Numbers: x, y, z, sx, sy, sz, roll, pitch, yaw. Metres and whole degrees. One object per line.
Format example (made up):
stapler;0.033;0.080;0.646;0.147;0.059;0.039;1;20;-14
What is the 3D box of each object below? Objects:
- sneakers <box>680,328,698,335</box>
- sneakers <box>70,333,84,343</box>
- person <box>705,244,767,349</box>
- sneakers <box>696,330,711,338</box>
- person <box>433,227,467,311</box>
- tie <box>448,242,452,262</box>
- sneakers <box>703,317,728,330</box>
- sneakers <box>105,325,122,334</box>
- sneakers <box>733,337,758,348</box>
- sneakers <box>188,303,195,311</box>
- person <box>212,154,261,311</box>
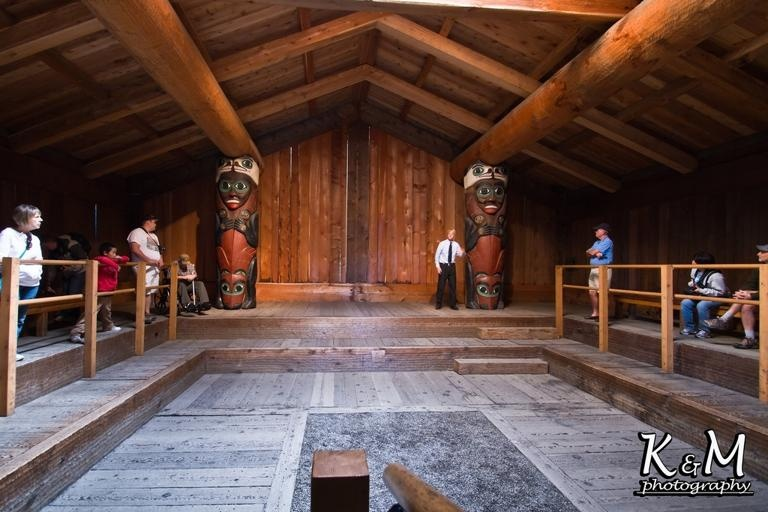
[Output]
sneakers;4.240;1.051;6.368;0.255;0.095;0.085;0;-2;17
sneakers;-3.737;1.006;5.576;0.139;0.061;0.162;-2;0;-4
person;4.612;0.472;5.938;0.663;1.318;1.647;-2;-4;34
sneakers;4.284;1.052;6.126;0.224;0.089;0.081;16;-18;-42
person;1.295;0.264;9.044;0.516;1.546;0.717;0;-3;8
tie;1.292;-0.078;8.869;0.070;0.397;0.042;1;-4;-7
sneakers;4.427;0.906;6.137;0.404;0.162;0.135;3;1;7
sneakers;-3.652;0.991;6.191;0.179;0.112;0.082;-4;15;-43
sneakers;4.439;1.057;5.569;0.359;0.116;0.130;1;-3;-9
sneakers;-3.296;0.879;7.880;0.131;0.122;0.101;1;-3;-14
person;-2.803;-0.474;8.720;0.770;2.936;0.500;2;-4;-17
